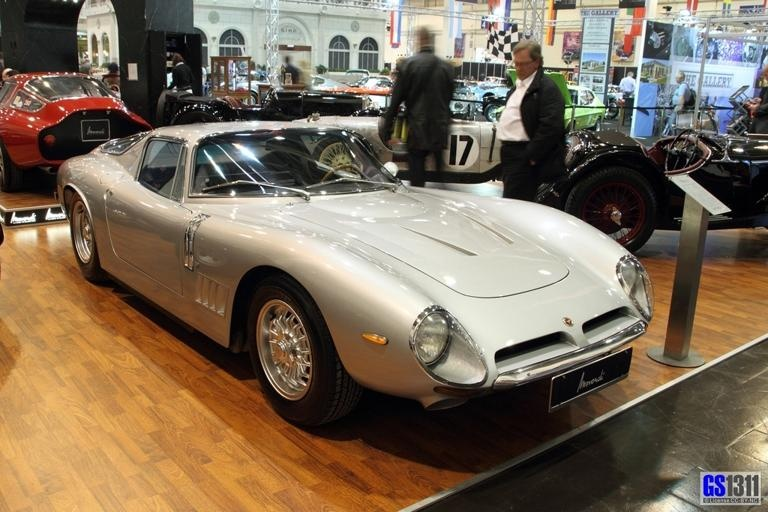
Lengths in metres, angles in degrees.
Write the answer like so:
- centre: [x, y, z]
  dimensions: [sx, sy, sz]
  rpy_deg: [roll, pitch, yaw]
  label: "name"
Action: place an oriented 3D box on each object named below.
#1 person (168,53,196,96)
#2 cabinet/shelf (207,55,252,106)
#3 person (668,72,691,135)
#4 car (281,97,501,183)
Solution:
- centre: [-4.368, -3.900, 9.843]
  dimensions: [0.442, 0.768, 0.504]
  rpy_deg: [21, 36, 28]
  label: "person"
- centre: [-4.143, -4.783, 12.507]
  dimensions: [1.116, 1.662, 1.181]
  rpy_deg: [4, 42, -11]
  label: "cabinet/shelf"
- centre: [8.048, -4.155, 12.691]
  dimensions: [0.444, 1.714, 0.544]
  rpy_deg: [0, 34, 25]
  label: "person"
- centre: [0.421, -1.544, 6.652]
  dimensions: [2.349, 0.816, 1.356]
  rpy_deg: [1, 19, 3]
  label: "car"
